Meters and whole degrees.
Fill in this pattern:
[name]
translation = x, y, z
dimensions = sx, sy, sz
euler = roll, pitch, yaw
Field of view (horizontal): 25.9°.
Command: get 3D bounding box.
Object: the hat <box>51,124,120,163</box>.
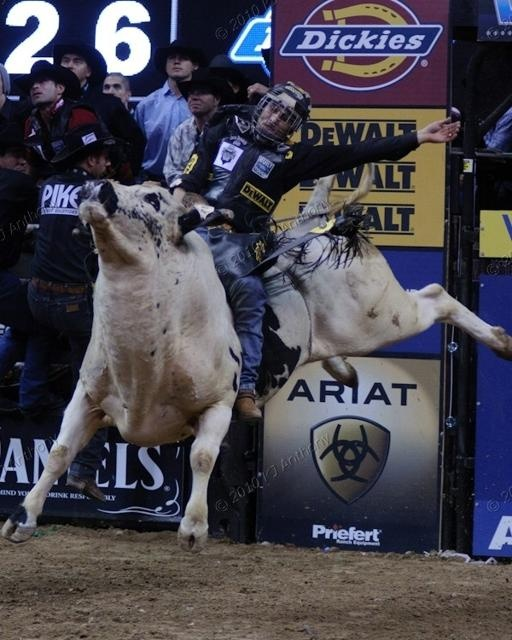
[hat]
translation = -1.086, -1.156, 7.223
dimensions = 0.351, 0.125, 0.292
euler = -24, -2, -41

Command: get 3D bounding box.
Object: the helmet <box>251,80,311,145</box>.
[helmet]
translation = 0.206, -1.175, 6.556
dimensions = 0.305, 0.342, 0.373
euler = 40, 7, 5

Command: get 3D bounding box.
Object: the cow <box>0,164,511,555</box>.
[cow]
translation = -0.166, 0.077, 6.278
dimensions = 0.799, 2.011, 2.943
euler = 3, 0, 35

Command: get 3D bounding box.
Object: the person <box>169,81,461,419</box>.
[person]
translation = 0.114, -0.665, 6.513
dimensions = 1.257, 1.255, 2.515
euler = 12, 38, 20

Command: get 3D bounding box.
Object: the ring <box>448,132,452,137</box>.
[ring]
translation = 1.112, -1.055, 6.347
dimensions = 0.020, 0.010, 0.030
euler = 4, 29, 3
